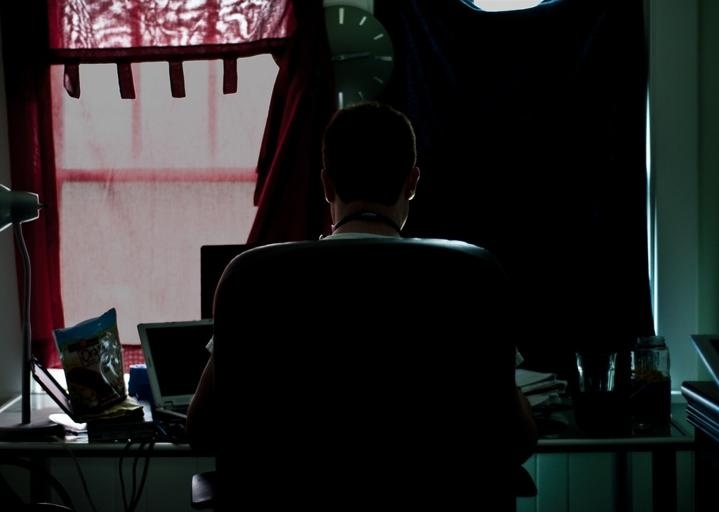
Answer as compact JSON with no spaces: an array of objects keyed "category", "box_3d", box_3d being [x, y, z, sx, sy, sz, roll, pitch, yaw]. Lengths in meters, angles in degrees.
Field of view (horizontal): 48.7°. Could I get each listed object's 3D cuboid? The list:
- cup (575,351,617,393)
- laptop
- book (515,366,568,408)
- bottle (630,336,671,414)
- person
[{"category":"cup","box_3d":[0.870,0.418,2.891,0.138,0.181,0.182,0,-14,7]},{"category":"laptop","box_3d":[-0.708,0.404,3.000,0.359,0.283,0.294,-2,-19,-28]},{"category":"book","box_3d":[0.648,0.465,2.838,0.167,0.071,0.175,-4,20,-7]},{"category":"bottle","box_3d":[1.050,0.432,2.865,0.131,0.265,0.391,0,-1,20]},{"category":"person","box_3d":[0.007,0.090,2.516,1.136,1.119,0.627,4,-2,1]}]
